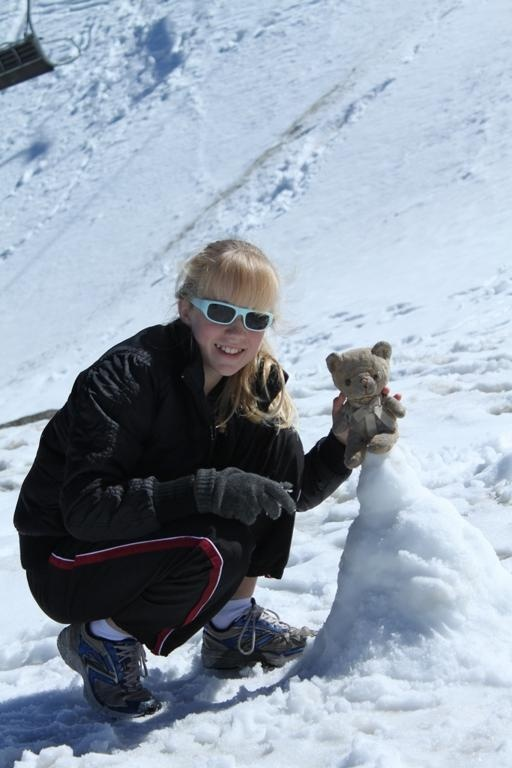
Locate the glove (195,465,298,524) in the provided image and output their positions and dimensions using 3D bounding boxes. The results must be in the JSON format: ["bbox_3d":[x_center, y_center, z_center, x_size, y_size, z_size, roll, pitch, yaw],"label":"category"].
[{"bbox_3d":[-0.031,0.336,2.396,0.276,0.111,0.153,11,57,1],"label":"glove"}]

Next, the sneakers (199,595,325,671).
[{"bbox_3d":[0.024,0.881,2.799,0.441,0.199,0.168,-4,1,3],"label":"sneakers"}]

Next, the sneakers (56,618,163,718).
[{"bbox_3d":[-0.457,0.898,2.500,0.209,0.252,0.258,-14,18,-13],"label":"sneakers"}]
